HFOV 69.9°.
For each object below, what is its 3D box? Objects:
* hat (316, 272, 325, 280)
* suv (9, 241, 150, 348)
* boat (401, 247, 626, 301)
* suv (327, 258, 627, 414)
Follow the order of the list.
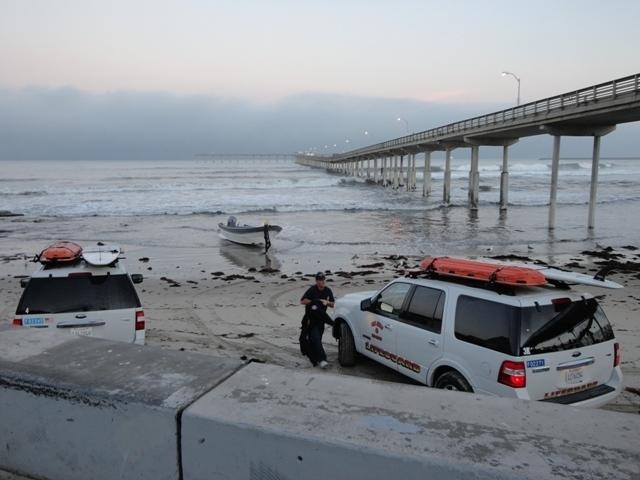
[{"bbox_3d":[0.018,0.631,7.876,0.143,0.120,0.147,-1,-19,-6],"label":"hat"},{"bbox_3d":[-3.686,0.771,7.384,1.698,0.963,2.277,1,13,-16],"label":"suv"},{"bbox_3d":[2.235,0.424,5.585,1.003,0.281,2.138,-12,13,-43],"label":"boat"},{"bbox_3d":[1.838,0.967,6.541,2.031,1.204,3.599,-1,7,-28],"label":"suv"}]
